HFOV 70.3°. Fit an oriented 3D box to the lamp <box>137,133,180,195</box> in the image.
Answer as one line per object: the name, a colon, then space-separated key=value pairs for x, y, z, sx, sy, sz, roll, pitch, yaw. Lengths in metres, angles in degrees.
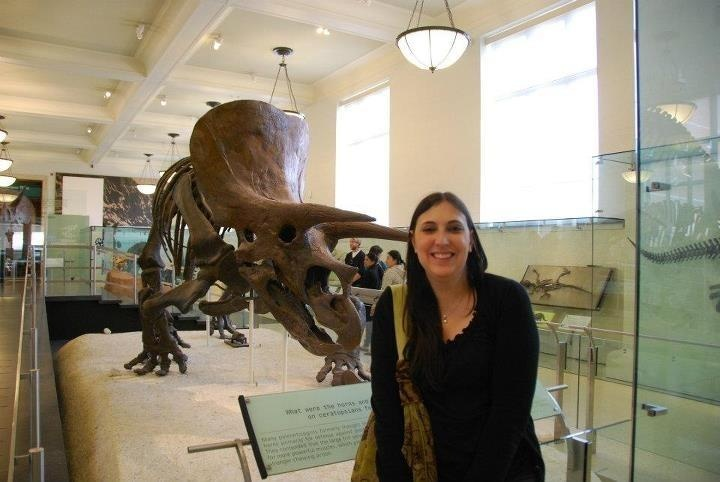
lamp: x=-7.367 y=-2.466 z=18.578 sx=1.469 sy=1.615 sz=4.480 roll=-1 pitch=-2 yaw=-24

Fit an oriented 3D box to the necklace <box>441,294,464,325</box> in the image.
necklace: x=0.467 y=0.340 z=2.538 sx=0.121 sy=0.144 sz=0.077 roll=-3 pitch=-19 yaw=12

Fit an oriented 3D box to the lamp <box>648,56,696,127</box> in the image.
lamp: x=1.653 y=-0.809 z=2.714 sx=0.213 sy=0.331 sz=0.200 roll=-6 pitch=12 yaw=3
